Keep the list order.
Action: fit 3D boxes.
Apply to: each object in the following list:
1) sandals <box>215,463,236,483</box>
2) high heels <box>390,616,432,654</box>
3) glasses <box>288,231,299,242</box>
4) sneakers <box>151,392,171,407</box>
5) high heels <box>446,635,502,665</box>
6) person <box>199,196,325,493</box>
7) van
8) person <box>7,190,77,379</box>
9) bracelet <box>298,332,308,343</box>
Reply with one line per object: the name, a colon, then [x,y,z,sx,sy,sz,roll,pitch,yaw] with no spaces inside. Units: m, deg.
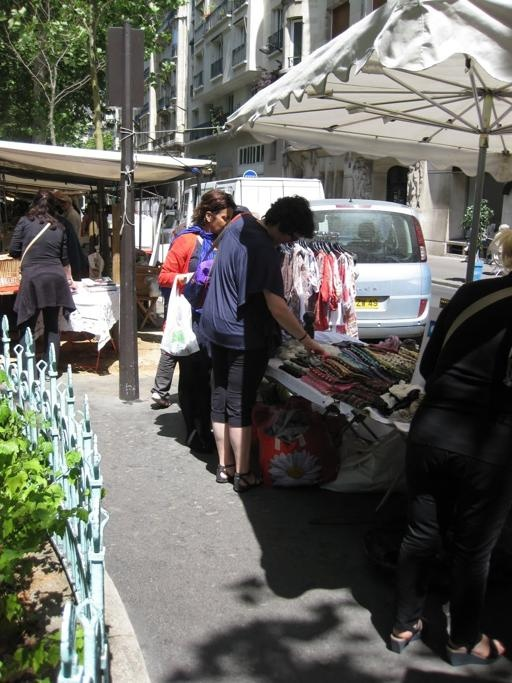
sandals: [-0.236,0.988,4.028,0.073,0.082,0.196,2,8,4]
high heels: [0.638,1.190,2.218,0.074,0.088,0.200,10,24,38]
glasses: [0.250,-0.720,3.647,0.044,0.042,0.053,22,40,31]
sneakers: [-1.047,0.643,5.829,0.099,0.133,0.290,29,-7,11]
high heels: [0.853,1.211,2.129,0.203,0.083,0.102,-3,7,-3]
person: [-0.061,0.090,3.703,0.809,1.996,0.382,5,6,37]
van: [1.740,-1.089,7.538,1.370,1.219,2.422,-2,19,0]
person: [-2.498,-0.801,6.303,0.710,1.962,0.877,-1,6,-24]
bracelet: [0.302,-0.031,3.557,0.062,0.024,0.045,-39,16,15]
